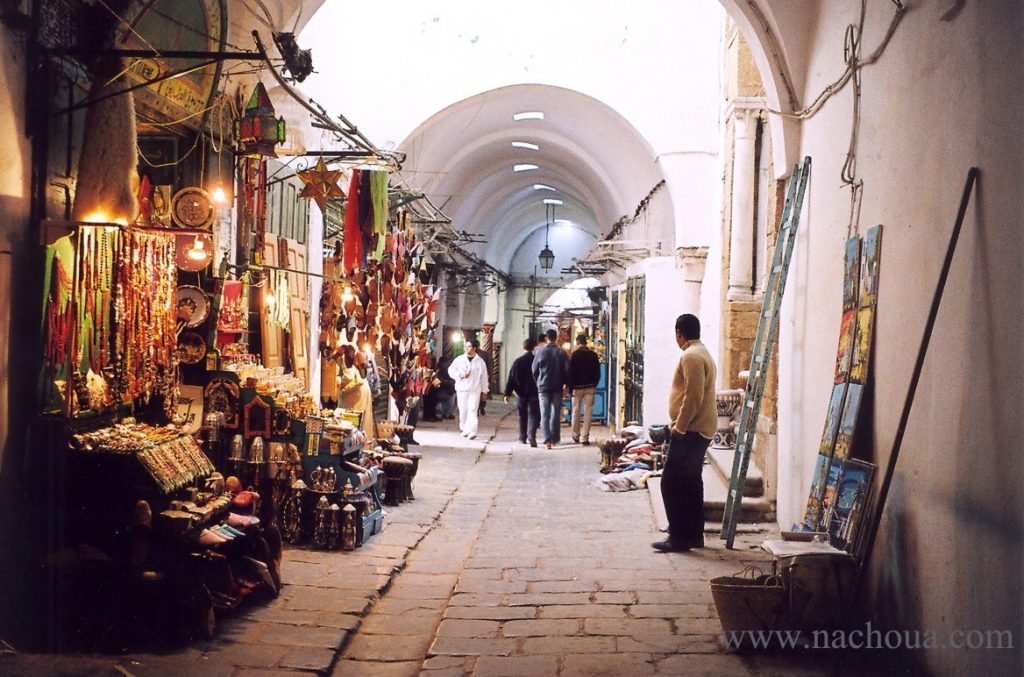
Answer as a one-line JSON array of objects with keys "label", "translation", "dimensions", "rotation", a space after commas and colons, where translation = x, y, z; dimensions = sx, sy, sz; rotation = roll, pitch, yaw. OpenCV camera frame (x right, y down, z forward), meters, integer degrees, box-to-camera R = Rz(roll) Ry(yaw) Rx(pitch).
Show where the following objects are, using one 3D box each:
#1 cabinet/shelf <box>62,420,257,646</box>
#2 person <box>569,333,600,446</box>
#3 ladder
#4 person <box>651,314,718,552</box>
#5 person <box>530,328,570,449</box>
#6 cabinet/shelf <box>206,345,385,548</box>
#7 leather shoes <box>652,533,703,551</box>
[{"label": "cabinet/shelf", "translation": [-2.780, 1.408, 6.836], "dimensions": [1.303, 1.678, 1.681], "rotation": [-1, -3, 7]}, {"label": "person", "translation": [1.391, 0.981, 16.022], "dimensions": [0.556, 1.686, 1.427], "rotation": [1, 1, 6]}, {"label": "ladder", "translation": [2.564, 0.131, 8.410], "dimensions": [0.722, 3.569, 0.920], "rotation": [1, 1, 6]}, {"label": "person", "translation": [1.741, 0.945, 8.282], "dimensions": [0.605, 2.022, 0.478], "rotation": [1, 1, 2]}, {"label": "person", "translation": [0.693, 0.944, 15.718], "dimensions": [0.658, 1.699, 0.843], "rotation": [1, 1, 2]}, {"label": "cabinet/shelf", "translation": [-2.330, 0.923, 8.449], "dimensions": [1.241, 1.563, 1.223], "rotation": [3, 14, -12]}, {"label": "leather shoes", "translation": [1.641, 2.035, 8.274], "dimensions": [0.518, 0.215, 0.189], "rotation": [2, -7, -3]}]
